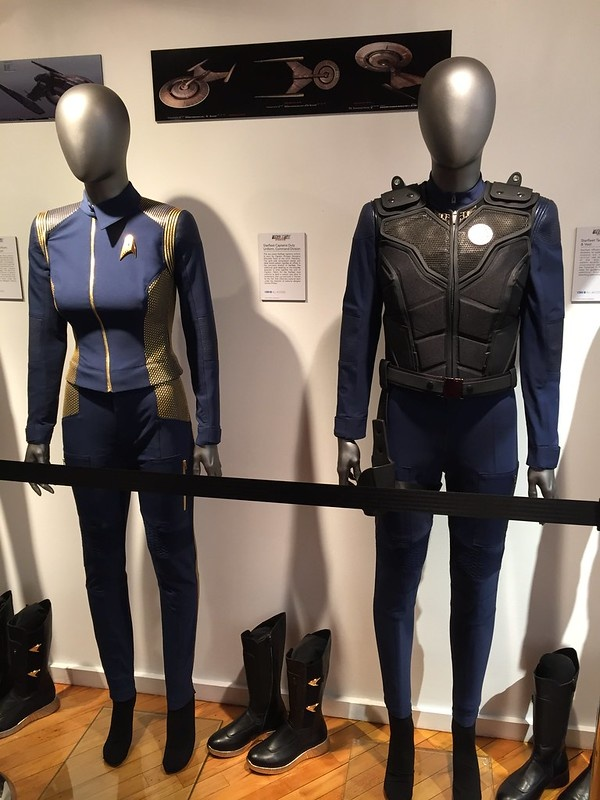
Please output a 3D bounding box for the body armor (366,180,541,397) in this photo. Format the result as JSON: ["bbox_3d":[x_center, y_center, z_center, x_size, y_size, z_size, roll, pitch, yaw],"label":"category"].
[{"bbox_3d":[0.301,-0.213,1.345,0.372,0.457,0.252,2,18,16],"label":"body armor"}]

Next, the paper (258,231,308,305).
[{"bbox_3d":[-0.039,-0.326,1.708,0.173,0.219,0.025,2,15,11],"label":"paper"}]

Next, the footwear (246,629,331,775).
[{"bbox_3d":[-0.023,0.669,1.611,0.182,0.272,0.210,1,12,3],"label":"footwear"}]

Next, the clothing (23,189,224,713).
[{"bbox_3d":[-0.390,0.097,1.510,0.431,1.079,0.291,-1,12,-5],"label":"clothing"}]

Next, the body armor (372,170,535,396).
[{"bbox_3d":[0.297,-0.216,1.344,0.389,0.482,0.269,2,17,14],"label":"body armor"}]
